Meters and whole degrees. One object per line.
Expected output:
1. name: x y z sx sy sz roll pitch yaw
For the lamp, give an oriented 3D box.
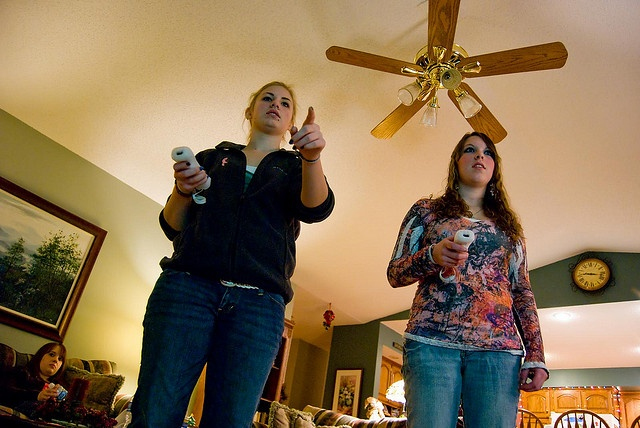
1. lamp: 0.883 -1.100 3.463 0.708 0.632 0.651 18 -3 22
